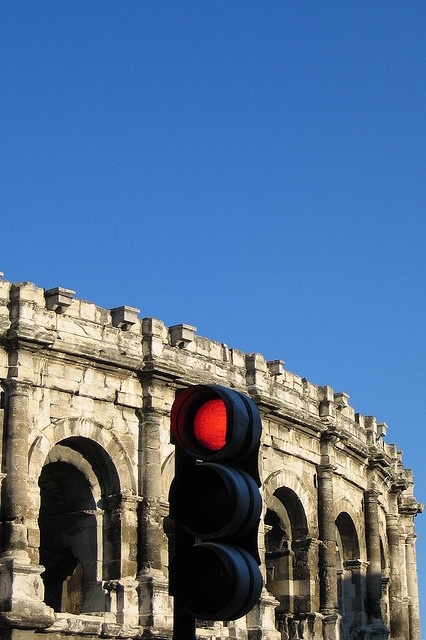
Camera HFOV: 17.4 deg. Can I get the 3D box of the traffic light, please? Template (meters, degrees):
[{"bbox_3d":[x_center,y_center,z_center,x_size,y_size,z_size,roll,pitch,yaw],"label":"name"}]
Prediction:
[{"bbox_3d":[-0.006,1.290,9.639,0.770,1.712,0.366,-12,-21,35],"label":"traffic light"}]
